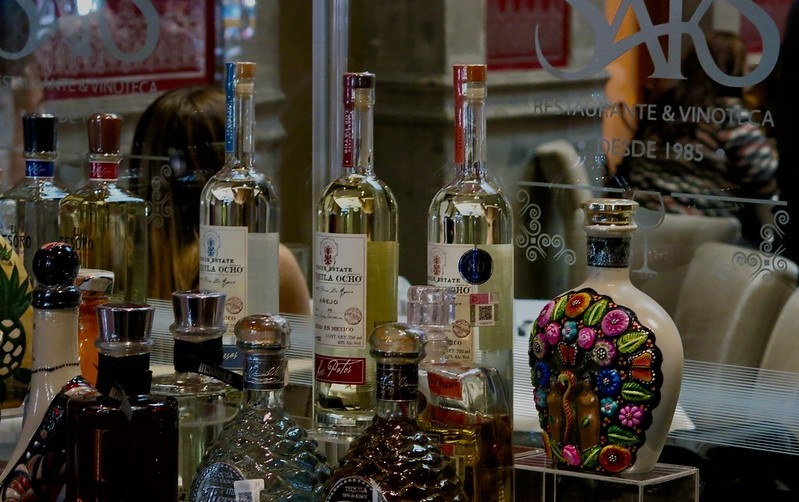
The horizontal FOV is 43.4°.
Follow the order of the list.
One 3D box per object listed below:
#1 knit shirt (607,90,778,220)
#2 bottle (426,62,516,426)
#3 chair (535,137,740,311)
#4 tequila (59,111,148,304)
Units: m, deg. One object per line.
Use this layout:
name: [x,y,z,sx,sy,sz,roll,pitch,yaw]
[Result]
knit shirt: [0.476,-0.123,1.630,0.272,0.272,0.163,0,-1,17]
bottle: [0.103,-0.009,1.481,0.155,0.511,0.161,-1,15,0]
chair: [0.378,-0.065,1.597,0.285,0.344,0.246,3,5,16]
tequila: [-0.483,-0.069,1.636,0.138,0.305,0.101,0,3,-20]
